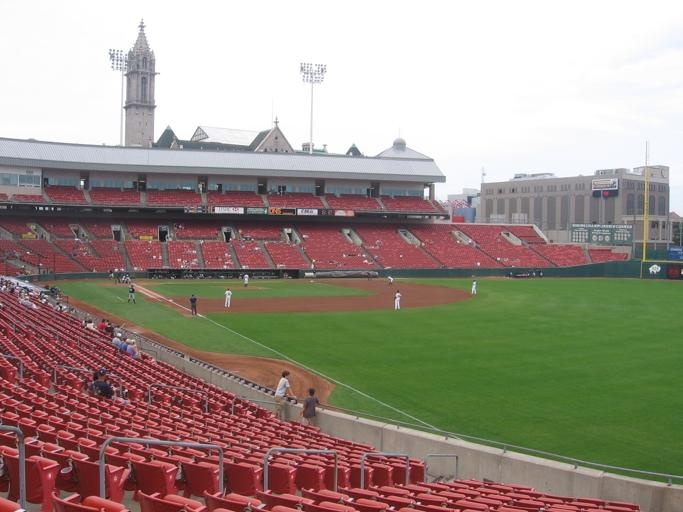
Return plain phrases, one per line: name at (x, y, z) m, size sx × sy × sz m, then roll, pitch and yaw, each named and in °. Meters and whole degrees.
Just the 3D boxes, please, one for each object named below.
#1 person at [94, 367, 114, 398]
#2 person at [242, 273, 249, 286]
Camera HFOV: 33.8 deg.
person at (-9.733, 5.244, 46.061) m, size 1.047 × 0.873 × 0.586 m, roll 11°, pitch 24°, yaw 36°
person at (-7.217, 1.835, 84.518) m, size 0.571 × 0.343 × 1.420 m, roll -4°, pitch 9°, yaw -4°
